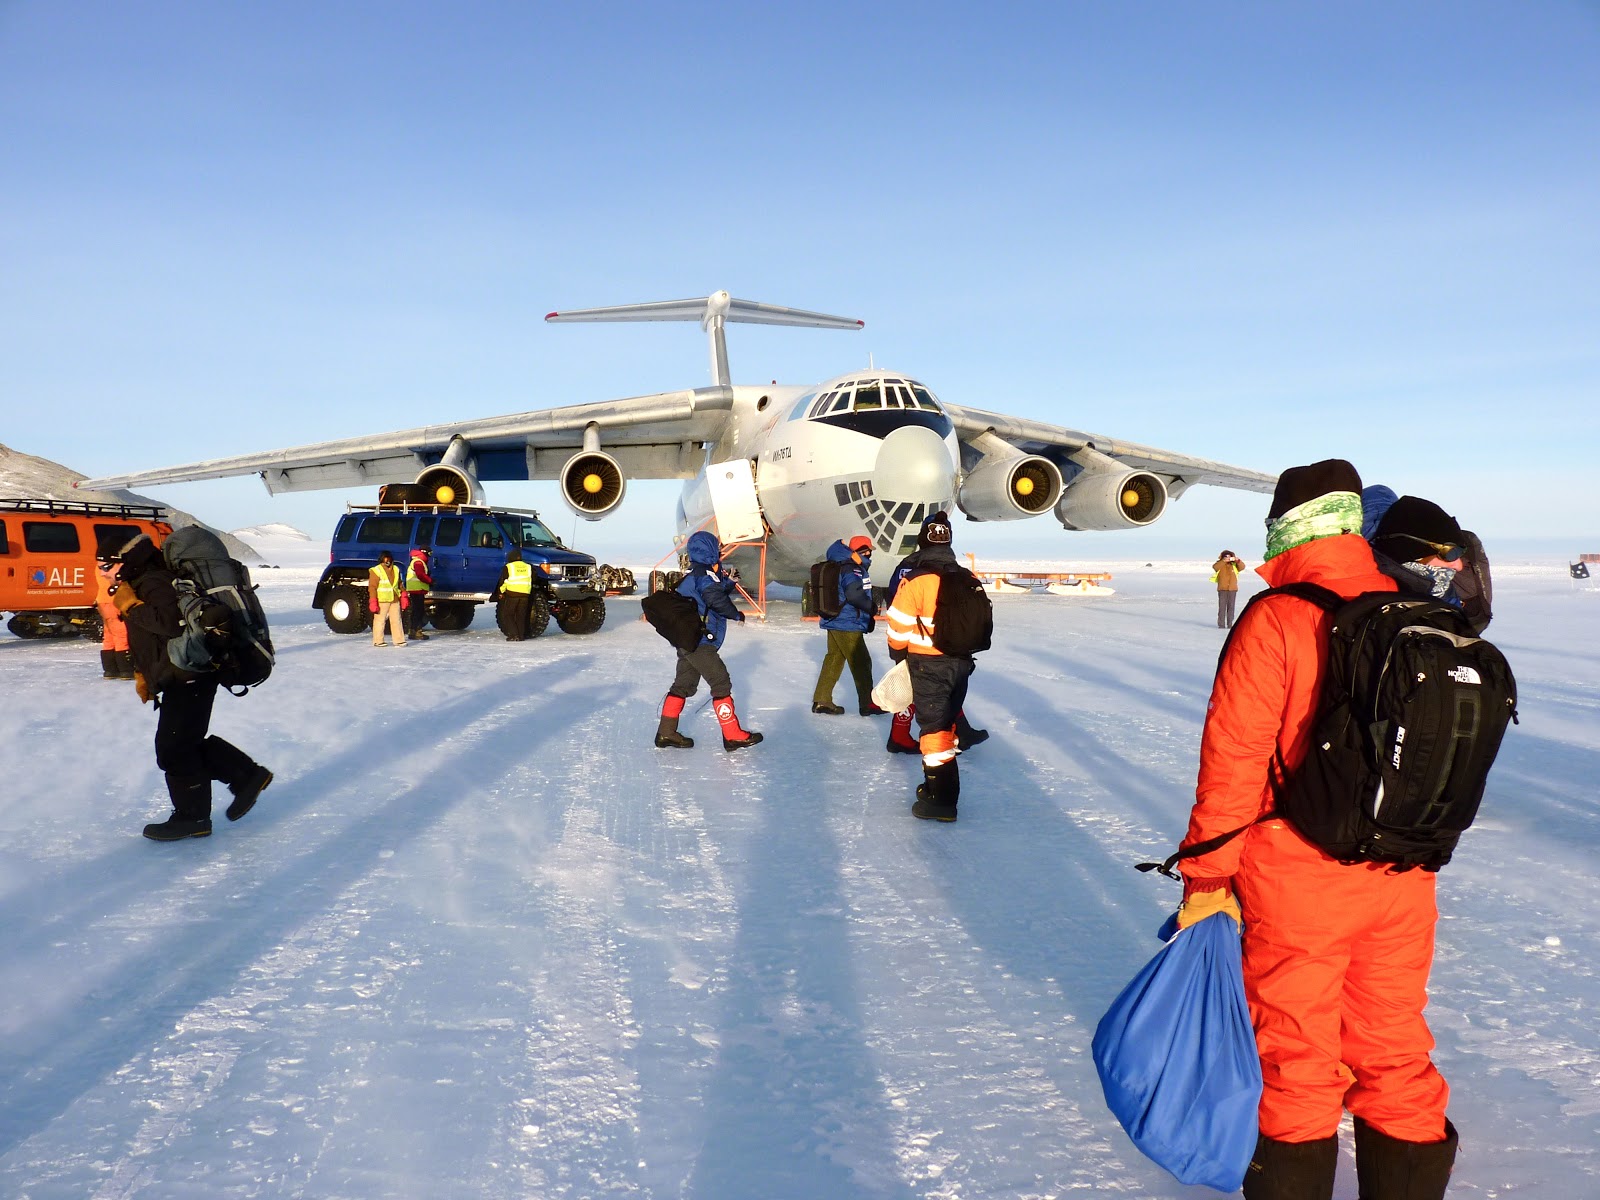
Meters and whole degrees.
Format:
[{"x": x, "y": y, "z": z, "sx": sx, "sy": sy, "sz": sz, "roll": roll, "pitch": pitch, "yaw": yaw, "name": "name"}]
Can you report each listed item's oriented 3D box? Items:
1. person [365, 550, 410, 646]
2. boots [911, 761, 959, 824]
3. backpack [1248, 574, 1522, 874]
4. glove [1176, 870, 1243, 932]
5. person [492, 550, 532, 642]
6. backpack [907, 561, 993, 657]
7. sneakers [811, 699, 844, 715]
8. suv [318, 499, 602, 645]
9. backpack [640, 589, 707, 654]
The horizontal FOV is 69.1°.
[{"x": -5.708, "y": -0.002, "z": 16.003, "sx": 0.492, "sy": 1.298, "sz": 1.032, "roll": -6, "pitch": 7, "yaw": -18, "name": "person"}, {"x": 0.831, "y": 1.188, "z": 7.247, "sx": 0.286, "sy": 0.375, "sz": 0.215, "roll": -2, "pitch": 7, "yaw": 3, "name": "boots"}, {"x": 1.895, "y": 0.425, "z": 3.753, "sx": 0.683, "sy": 0.932, "sz": 0.335, "roll": -1, "pitch": 7, "yaw": 16, "name": "backpack"}, {"x": 1.386, "y": 1.027, "z": 3.921, "sx": 0.260, "sy": 0.230, "sz": 0.163, "roll": -11, "pitch": -31, "yaw": 22, "name": "glove"}, {"x": -4.017, "y": -0.047, "z": 16.339, "sx": 0.534, "sy": 1.260, "sz": 0.827, "roll": -5, "pitch": 7, "yaw": -12, "name": "person"}, {"x": 0.992, "y": 0.074, "z": 7.443, "sx": 0.492, "sy": 0.612, "sz": 0.401, "roll": -4, "pitch": 7, "yaw": -13, "name": "backpack"}, {"x": 0.235, "y": 1.007, "z": 10.692, "sx": 0.317, "sy": 0.139, "sz": 0.091, "roll": -3, "pitch": 16, "yaw": -9, "name": "sneakers"}, {"x": -4.714, "y": -0.529, "z": 17.636, "sx": 5.910, "sy": 1.813, "sz": 2.974, "roll": -1, "pitch": 1, "yaw": 12, "name": "suv"}, {"x": -0.909, "y": 0.164, "z": 8.537, "sx": 0.429, "sy": 0.519, "sz": 0.119, "roll": -36, "pitch": 17, "yaw": 18, "name": "backpack"}]
